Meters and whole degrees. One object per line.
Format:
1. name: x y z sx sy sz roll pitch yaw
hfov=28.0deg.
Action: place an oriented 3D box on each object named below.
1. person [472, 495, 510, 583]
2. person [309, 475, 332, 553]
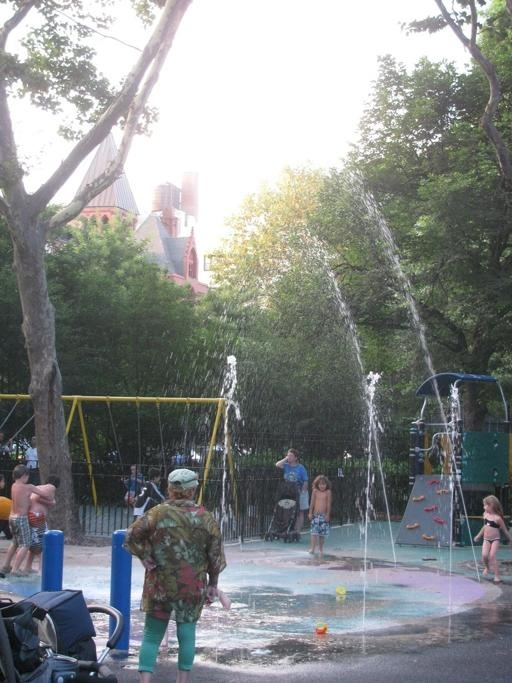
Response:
1. person: 3.275 2.624 14.010 0.631 1.354 0.497 1 -4 -16
2. person: 0.991 2.595 15.788 0.328 1.316 0.299 -4 -6 27
